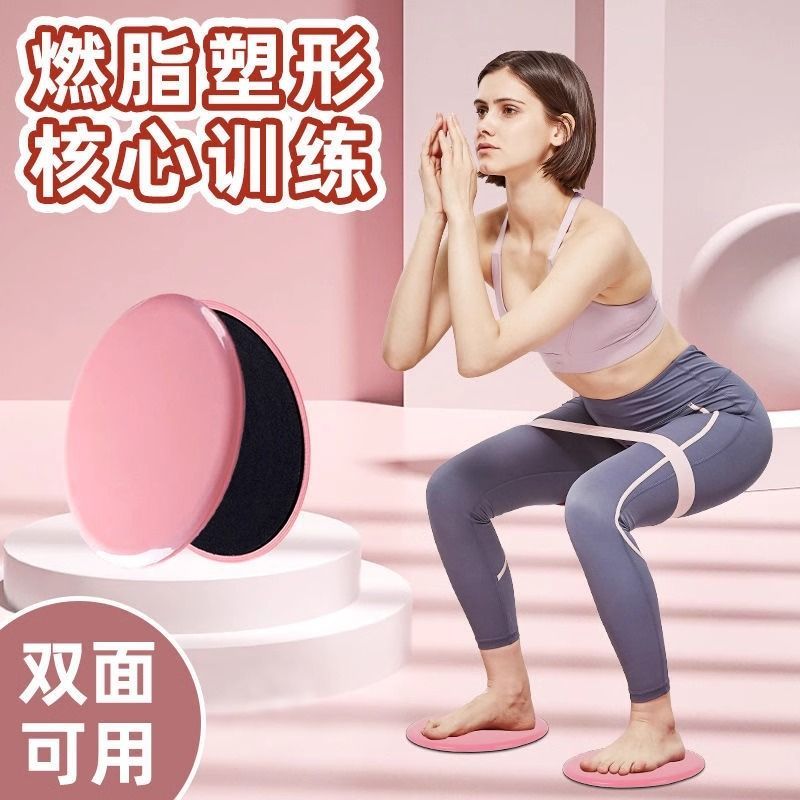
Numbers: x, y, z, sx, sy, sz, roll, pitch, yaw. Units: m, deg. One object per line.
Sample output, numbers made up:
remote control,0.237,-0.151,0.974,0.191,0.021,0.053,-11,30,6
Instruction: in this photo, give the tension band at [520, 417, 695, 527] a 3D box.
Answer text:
tension band,0.310,0.076,1.408,0.088,0.125,0.431,-2,12,-28

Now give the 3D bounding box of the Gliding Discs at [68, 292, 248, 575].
Gliding Discs,-0.442,0.046,1.584,0.417,0.461,0.109,4,5,38
